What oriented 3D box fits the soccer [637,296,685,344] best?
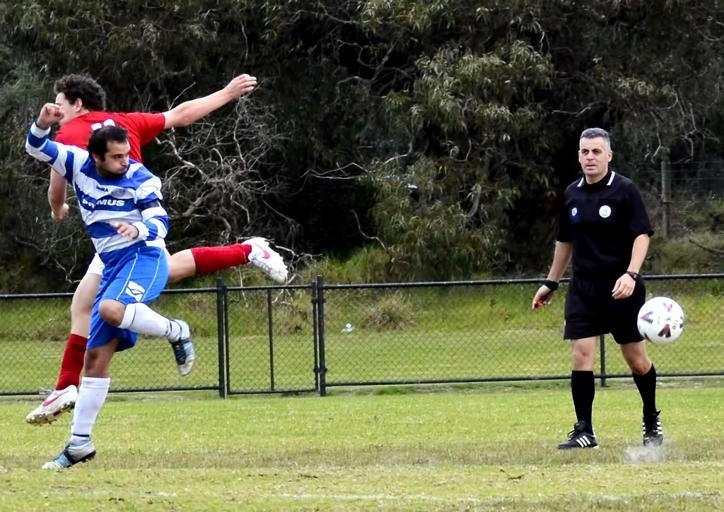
[{"bbox_3d":[4.170,0.899,19.128,0.540,0.607,0.597,-8,28,-5],"label":"soccer"}]

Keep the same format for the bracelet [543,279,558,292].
[{"bbox_3d":[2.707,0.393,19.574,0.205,0.113,0.158,19,-21,23],"label":"bracelet"}]

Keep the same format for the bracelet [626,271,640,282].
[{"bbox_3d":[3.725,0.305,18.608,0.157,0.087,0.135,25,-1,-6],"label":"bracelet"}]
